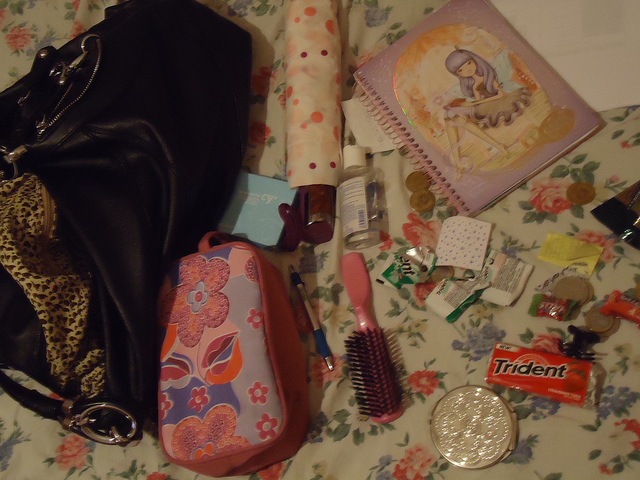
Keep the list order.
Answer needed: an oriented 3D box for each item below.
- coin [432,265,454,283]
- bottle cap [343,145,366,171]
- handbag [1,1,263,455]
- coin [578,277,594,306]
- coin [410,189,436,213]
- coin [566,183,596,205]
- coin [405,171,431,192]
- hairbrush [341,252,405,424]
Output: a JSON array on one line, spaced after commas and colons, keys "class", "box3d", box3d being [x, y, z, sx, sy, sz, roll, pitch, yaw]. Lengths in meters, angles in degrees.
[{"class": "coin", "box3d": [0.263, 0.073, 1.256, 0.046, 0.021, 0.031, -3, 51, 11]}, {"class": "bottle cap", "box3d": [0.077, -0.182, 1.295, 0.048, 0.044, 0.051, -3, 89, -4]}, {"class": "handbag", "box3d": [-0.389, -0.042, 1.471, 0.658, 0.312, 0.881, 22, 91, 10]}, {"class": "coin", "box3d": [0.541, 0.102, 1.185, 0.025, 0.029, 0.047, -8, 50, 7]}, {"class": "coin", "box3d": [0.226, -0.085, 1.295, 0.048, 0.031, 0.050, -7, 50, 8]}, {"class": "coin", "box3d": [0.542, -0.096, 1.222, 0.055, 0.024, 0.038, 0, 51, 13]}, {"class": "coin", "box3d": [0.217, -0.130, 1.306, 0.056, 0.023, 0.041, -7, 50, 7]}, {"class": "hairbrush", "box3d": [0.105, 0.199, 1.230, 0.093, 0.081, 0.339, -15, 64, 19]}]
